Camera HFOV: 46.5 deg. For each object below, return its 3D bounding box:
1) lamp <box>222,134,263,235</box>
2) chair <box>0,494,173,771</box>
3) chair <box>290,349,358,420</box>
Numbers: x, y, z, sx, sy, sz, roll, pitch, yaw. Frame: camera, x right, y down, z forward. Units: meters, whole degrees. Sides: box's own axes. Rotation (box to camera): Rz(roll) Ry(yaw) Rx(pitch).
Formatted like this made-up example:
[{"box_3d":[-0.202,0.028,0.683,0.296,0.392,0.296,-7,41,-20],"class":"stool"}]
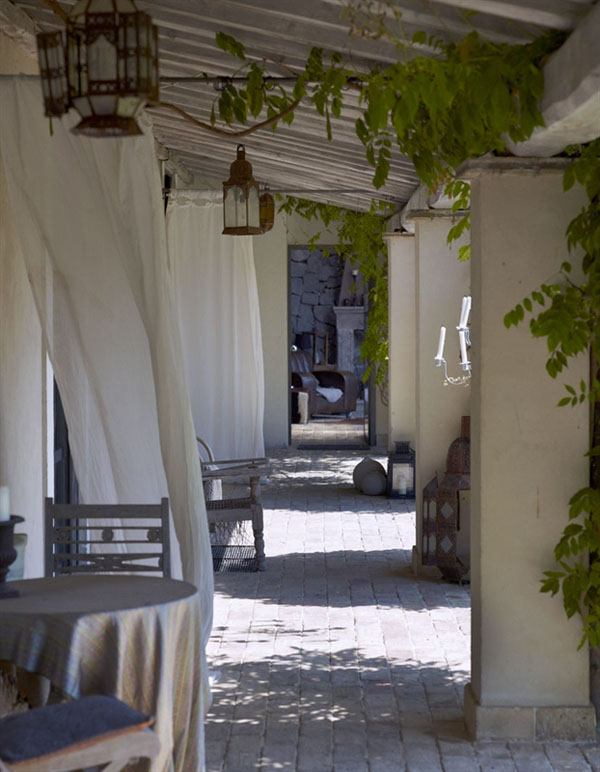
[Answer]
[{"box_3d":[-0.307,-0.977,3.464,0.177,0.462,0.177,1,2,-24],"class":"lamp"},{"box_3d":[-0.788,0.838,2.767,0.622,1.275,0.672,0,-6,2],"class":"chair"},{"box_3d":[0.294,-0.045,13.891,1.251,1.320,1.314,1,1,43],"class":"chair"}]
